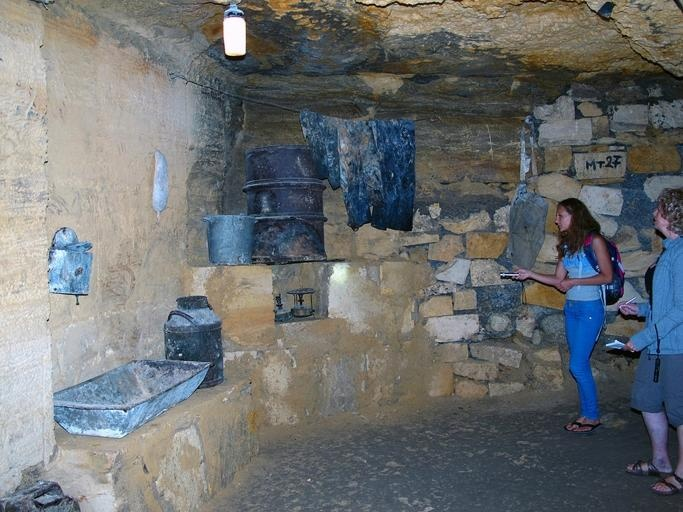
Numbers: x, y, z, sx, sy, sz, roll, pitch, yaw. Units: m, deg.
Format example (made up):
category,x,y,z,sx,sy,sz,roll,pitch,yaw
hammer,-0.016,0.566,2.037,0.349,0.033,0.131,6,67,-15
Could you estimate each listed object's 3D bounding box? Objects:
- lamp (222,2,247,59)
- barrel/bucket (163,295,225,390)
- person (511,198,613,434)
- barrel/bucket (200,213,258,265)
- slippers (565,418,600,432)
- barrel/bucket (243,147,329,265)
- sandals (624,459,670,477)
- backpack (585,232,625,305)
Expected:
category,x,y,z,sx,sy,sz,roll,pitch,yaw
lamp,-0.668,-1.431,4.325,0.129,0.318,0.208,-5,12,-10
barrel/bucket,-0.992,0.585,4.676,0.385,0.572,0.397,-2,4,0
person,1.704,0.429,4.907,0.325,1.651,0.420,-2,12,4
barrel/bucket,-0.839,-0.110,5.219,0.423,0.349,0.353,0,-6,4
slippers,1.710,1.211,4.948,0.188,0.054,0.103,0,5,5
barrel/bucket,-0.457,-0.417,5.467,0.653,0.918,0.559,-3,11,-1
sandals,1.871,1.334,4.289,0.204,0.071,0.094,0,0,26
backpack,1.839,0.084,4.940,0.308,0.522,0.379,-3,6,5
